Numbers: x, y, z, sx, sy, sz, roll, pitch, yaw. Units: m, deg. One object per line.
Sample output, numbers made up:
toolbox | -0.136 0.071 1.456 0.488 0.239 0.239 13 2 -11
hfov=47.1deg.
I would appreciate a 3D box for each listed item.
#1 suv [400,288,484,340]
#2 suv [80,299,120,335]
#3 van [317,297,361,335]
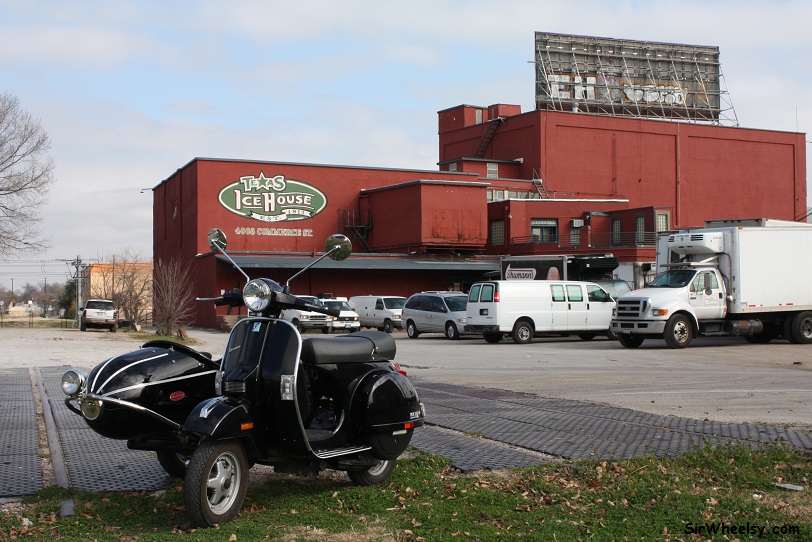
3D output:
suv | 1.462 1.738 37.212 1.483 1.215 2.570 2 -6 -33
suv | -15.422 2.263 47.384 1.376 1.122 2.671 1 2 -14
van | -2.752 2.083 40.761 2.089 1.855 3.903 1 -4 -18
